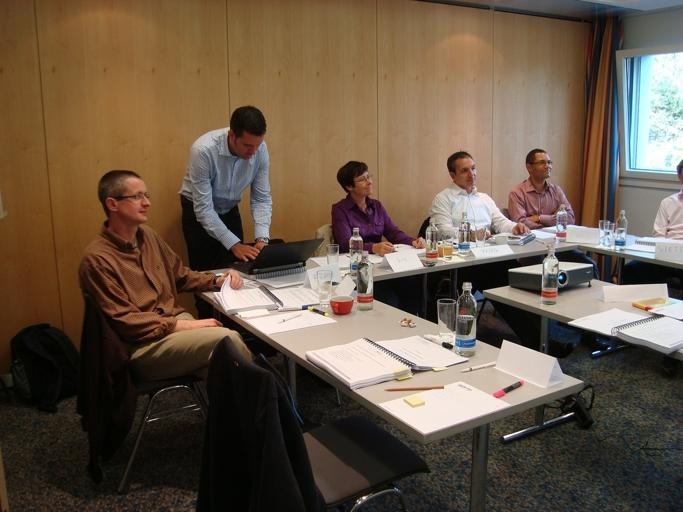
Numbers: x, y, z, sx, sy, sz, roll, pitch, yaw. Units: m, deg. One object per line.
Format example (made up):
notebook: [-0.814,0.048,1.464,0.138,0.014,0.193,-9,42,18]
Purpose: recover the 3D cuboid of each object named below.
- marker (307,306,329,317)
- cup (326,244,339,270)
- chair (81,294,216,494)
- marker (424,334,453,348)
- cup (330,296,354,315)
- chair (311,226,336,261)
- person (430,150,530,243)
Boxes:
marker: [-0.138,0.321,3.272,0.042,0.045,0.219,-1,13,-30]
cup: [-0.036,0.007,3.778,0.115,0.234,0.126,-1,3,0]
chair: [-1.255,0.754,3.349,0.636,0.999,0.755,-7,11,-7]
marker: [0.503,0.420,2.838,0.046,0.030,0.181,-19,18,-24]
cup: [0.004,0.284,3.196,0.087,0.077,0.120,-1,-1,2]
chair: [-0.122,-0.102,4.692,0.214,0.369,0.206,-5,11,-26]
person: [1.177,-0.497,5.301,0.800,1.185,0.848,-10,12,-36]
